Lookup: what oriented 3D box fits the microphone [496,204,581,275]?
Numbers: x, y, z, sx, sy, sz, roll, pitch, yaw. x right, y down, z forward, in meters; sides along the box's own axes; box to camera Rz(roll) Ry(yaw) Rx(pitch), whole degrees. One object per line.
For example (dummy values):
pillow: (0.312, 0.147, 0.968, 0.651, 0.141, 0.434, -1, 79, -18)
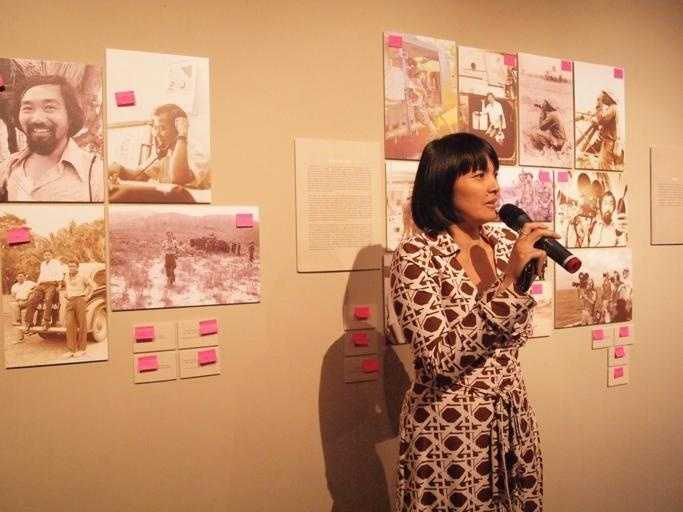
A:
microphone: (0.803, -0.072, 2.035, 0.105, 0.104, 0.423, -19, 49, -31)
